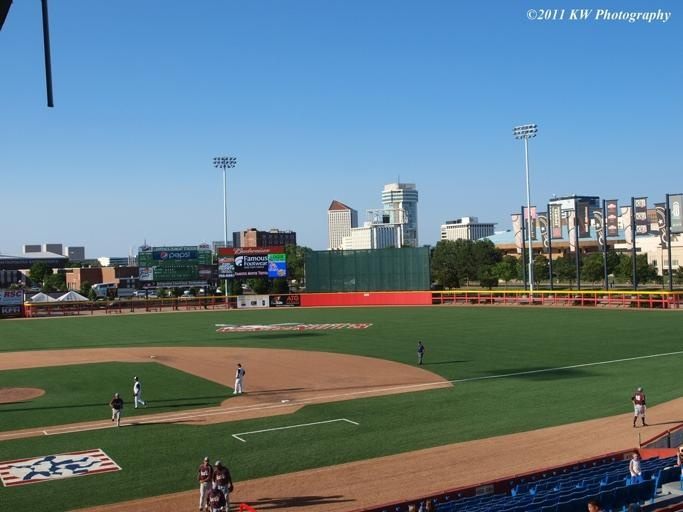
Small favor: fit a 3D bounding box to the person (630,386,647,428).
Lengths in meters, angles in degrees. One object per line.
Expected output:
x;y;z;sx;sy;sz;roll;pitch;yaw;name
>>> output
13.899;6.979;38.107;0.547;1.588;1.618;-2;-1;19;person
